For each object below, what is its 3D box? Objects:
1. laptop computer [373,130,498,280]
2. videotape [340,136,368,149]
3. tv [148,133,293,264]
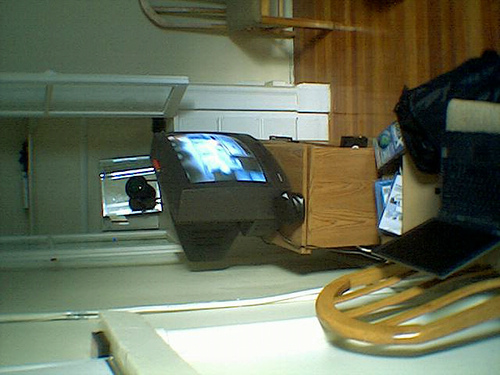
[{"bbox_3d":[0.588,0.023,1.180,0.345,0.258,0.265,2,5,-22],"label":"laptop computer"},{"bbox_3d":[0.402,-0.177,1.602,0.140,0.054,0.029,0,6,8],"label":"videotape"},{"bbox_3d":[-0.047,0.025,1.307,0.313,0.388,0.408,-24,43,-30],"label":"tv"}]
